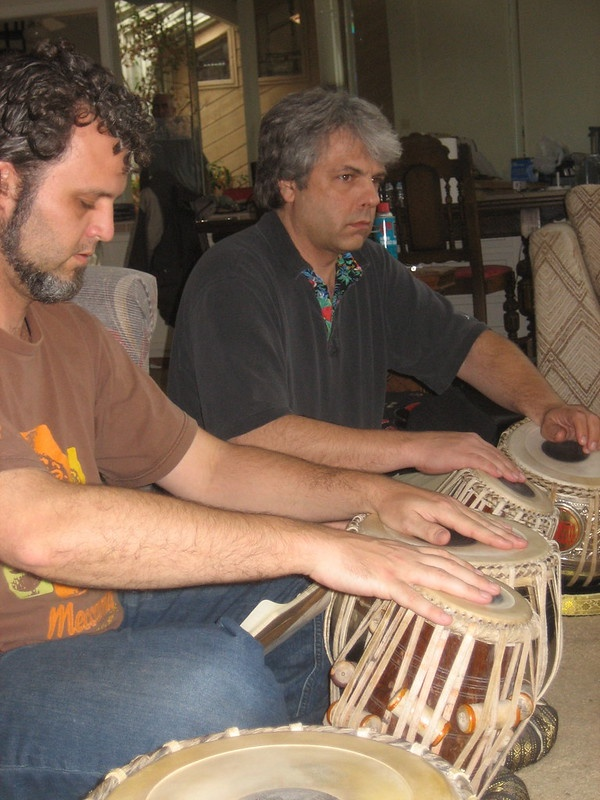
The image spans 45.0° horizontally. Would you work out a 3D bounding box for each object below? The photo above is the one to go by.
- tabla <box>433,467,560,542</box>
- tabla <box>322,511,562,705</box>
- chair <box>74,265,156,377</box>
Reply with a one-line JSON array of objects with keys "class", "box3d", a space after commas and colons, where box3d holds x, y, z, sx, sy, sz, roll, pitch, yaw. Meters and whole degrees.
[{"class": "tabla", "box3d": [0.364, 0.185, 1.355, 0.165, 0.151, 0.162, 36, -4, 15]}, {"class": "tabla", "box3d": [0.192, 0.334, 0.957, 0.195, 0.170, 0.200, 14, 0, 32]}, {"class": "chair", "box3d": [-0.364, -0.173, 1.486, 0.215, 0.227, 0.225, 0, 7, -22]}]
